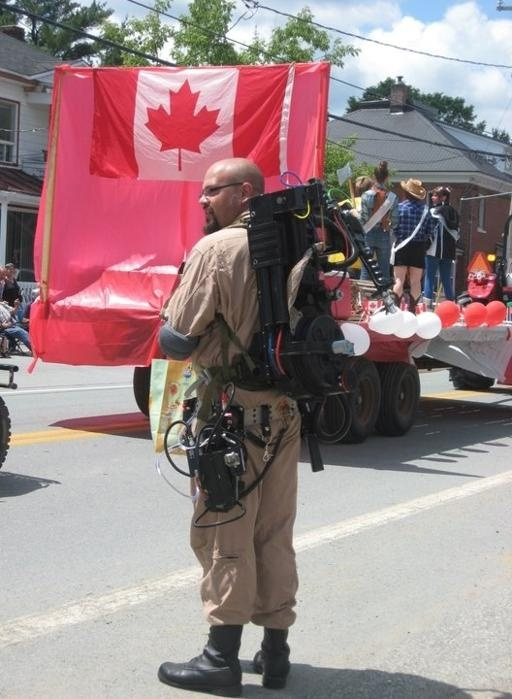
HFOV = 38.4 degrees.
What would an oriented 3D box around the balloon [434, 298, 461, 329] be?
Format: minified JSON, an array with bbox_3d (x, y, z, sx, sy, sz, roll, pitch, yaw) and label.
[{"bbox_3d":[2.063,-0.404,8.021,0.310,0.330,0.312,1,-3,3],"label":"balloon"}]

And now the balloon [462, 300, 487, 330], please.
[{"bbox_3d":[2.580,-0.392,8.657,0.315,0.318,0.292,2,7,18],"label":"balloon"}]

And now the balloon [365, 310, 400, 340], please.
[{"bbox_3d":[1.143,-0.241,6.544,0.429,0.287,0.328,2,0,12],"label":"balloon"}]

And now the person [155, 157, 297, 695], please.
[{"bbox_3d":[-0.090,0.260,2.567,0.483,1.869,0.568,1,9,3],"label":"person"}]

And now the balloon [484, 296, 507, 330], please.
[{"bbox_3d":[2.944,-0.453,9.115,0.311,0.374,0.364,9,-15,2],"label":"balloon"}]

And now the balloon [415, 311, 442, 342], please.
[{"bbox_3d":[1.723,-0.261,7.459,0.311,0.303,0.283,5,-18,-5],"label":"balloon"}]

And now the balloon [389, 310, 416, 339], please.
[{"bbox_3d":[1.302,-0.224,6.602,0.264,0.258,0.241,4,-17,3],"label":"balloon"}]
